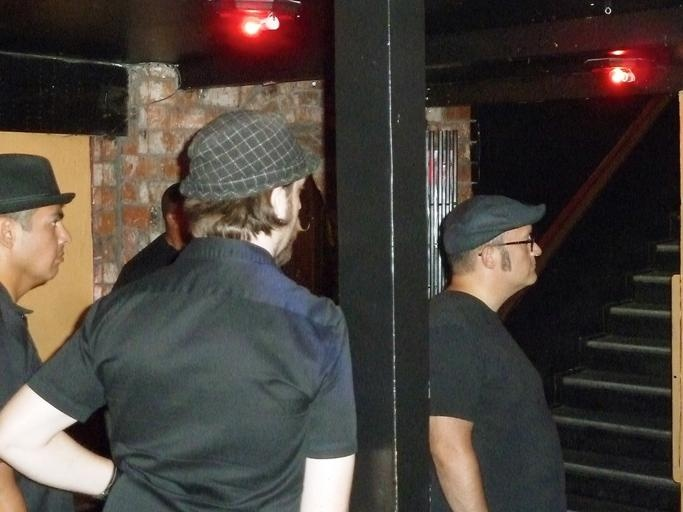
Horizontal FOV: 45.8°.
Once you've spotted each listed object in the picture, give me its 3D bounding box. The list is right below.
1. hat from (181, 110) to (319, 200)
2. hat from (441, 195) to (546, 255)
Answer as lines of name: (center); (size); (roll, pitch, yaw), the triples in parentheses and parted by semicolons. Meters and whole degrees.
hat: (-0.295, -0.307, 2.474); (0.276, 0.141, 0.317); (7, 29, 46)
hat: (0.625, -0.103, 3.373); (0.337, 0.148, 0.249); (-25, 9, -5)
